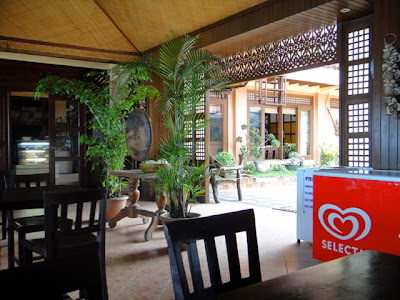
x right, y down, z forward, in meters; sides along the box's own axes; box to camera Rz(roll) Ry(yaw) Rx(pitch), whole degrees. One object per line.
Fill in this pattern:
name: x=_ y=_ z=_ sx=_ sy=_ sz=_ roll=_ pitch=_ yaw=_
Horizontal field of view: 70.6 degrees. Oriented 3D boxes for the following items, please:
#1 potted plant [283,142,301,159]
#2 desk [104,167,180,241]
potted plant: x=3.958 y=0.039 z=12.532 sx=0.709 sy=0.799 sz=0.663 roll=0 pitch=-5 yaw=-4
desk: x=-0.877 y=0.880 z=4.641 sx=1.223 sy=0.970 sz=0.742 roll=1 pitch=-4 yaw=41
